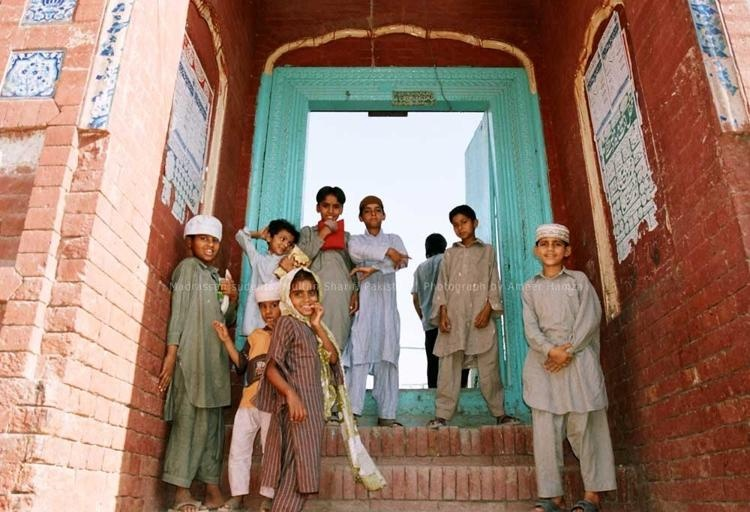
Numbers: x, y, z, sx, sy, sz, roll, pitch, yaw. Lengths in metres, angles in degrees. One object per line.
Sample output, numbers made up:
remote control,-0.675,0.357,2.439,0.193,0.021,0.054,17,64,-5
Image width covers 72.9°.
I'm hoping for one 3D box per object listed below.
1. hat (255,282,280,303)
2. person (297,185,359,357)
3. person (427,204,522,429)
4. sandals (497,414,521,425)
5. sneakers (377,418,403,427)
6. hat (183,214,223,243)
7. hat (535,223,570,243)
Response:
hat,-0.769,0.256,3.605,0.134,0.113,0.179,-3,-2,3
person,-0.444,0.233,4.598,0.550,1.739,0.687,-5,-10,30
person,0.795,0.484,4.387,0.708,1.854,0.444,0,-23,1
sandals,1.093,1.350,4.168,0.177,0.079,0.082,-3,-7,11
sneakers,0.116,1.381,4.209,0.233,0.089,0.128,-9,-12,34
hat,-1.287,-0.208,3.829,0.178,0.138,0.247,3,5,1
hat,1.359,-0.206,3.966,0.185,0.114,0.187,2,5,-16
